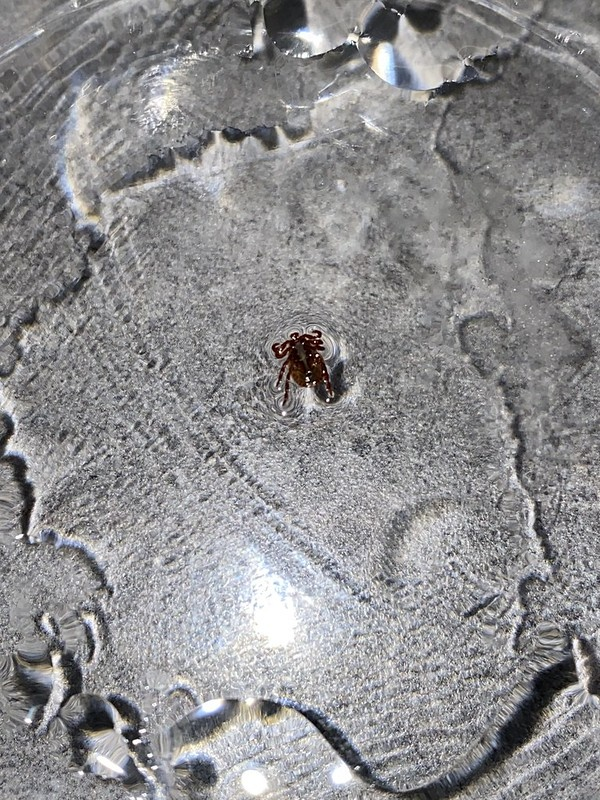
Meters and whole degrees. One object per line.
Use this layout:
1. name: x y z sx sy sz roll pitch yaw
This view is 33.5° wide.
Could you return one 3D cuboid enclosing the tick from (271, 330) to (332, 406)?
1. tick: 0.005 -0.076 2.306 0.134 0.073 0.168 -5 71 -2
